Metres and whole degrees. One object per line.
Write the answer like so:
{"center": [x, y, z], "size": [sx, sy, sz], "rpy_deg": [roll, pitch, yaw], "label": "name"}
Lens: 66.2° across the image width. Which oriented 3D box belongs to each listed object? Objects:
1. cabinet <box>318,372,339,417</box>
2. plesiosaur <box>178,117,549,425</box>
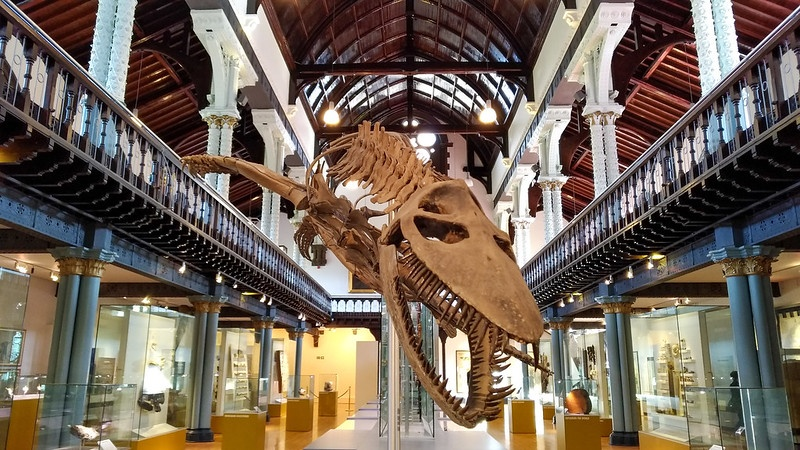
{"center": [-2.893, 6.718, 24.301], "size": [0.832, 1.550, 0.779], "rpy_deg": [1, -14, -7], "label": "cabinet"}
{"center": [-1.202, -0.080, 10.528], "size": [1.606, 3.580, 8.694], "rpy_deg": [8, 8, -44], "label": "plesiosaur"}
